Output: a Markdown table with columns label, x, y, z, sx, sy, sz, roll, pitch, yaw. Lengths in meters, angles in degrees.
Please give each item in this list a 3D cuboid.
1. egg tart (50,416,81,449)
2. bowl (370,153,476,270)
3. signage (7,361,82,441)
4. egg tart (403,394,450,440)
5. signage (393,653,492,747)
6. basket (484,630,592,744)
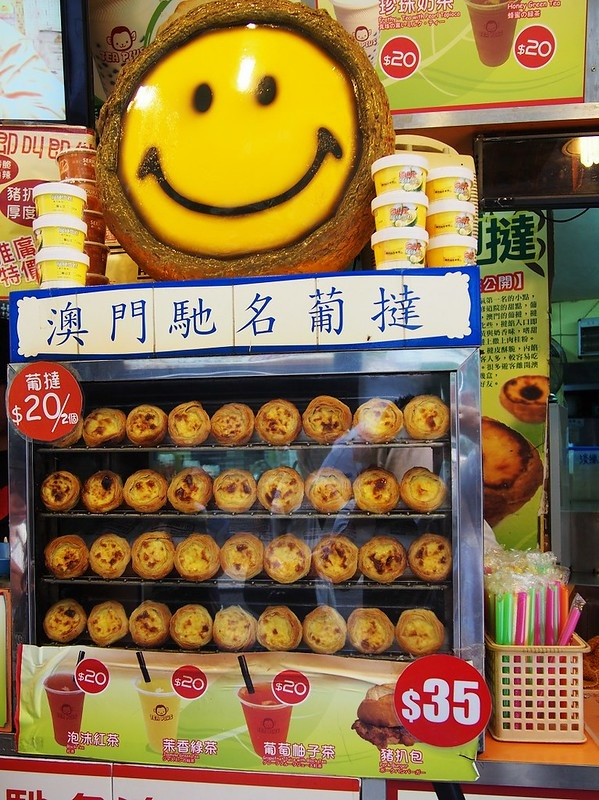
| label | x | y | z | sx | sy | sz | roll | pitch | yaw |
| --- | --- | --- | --- | --- | --- | --- | --- | --- | --- |
| egg tart | -0.751 | 0.100 | 2.461 | 0.104 | 0.064 | 0.106 | -1 | 18 | -4 |
| bowl | 0.402 | -0.568 | 2.484 | 0.418 | 0.357 | 0.355 | 1 | 2 | 33 |
| signage | -0.812 | -0.002 | 2.429 | 0.302 | 0.292 | 0.042 | 0 | 0 | 1 |
| egg tart | 0.383 | 0.053 | 2.311 | 0.143 | 0.123 | 0.045 | 6 | -10 | 25 |
| signage | 0.416 | 0.884 | 2.227 | 0.317 | 0.261 | 0.039 | 5 | -7 | 12 |
| basket | 0.660 | 0.932 | 2.513 | 0.353 | 0.274 | 0.465 | 6 | -18 | -12 |
